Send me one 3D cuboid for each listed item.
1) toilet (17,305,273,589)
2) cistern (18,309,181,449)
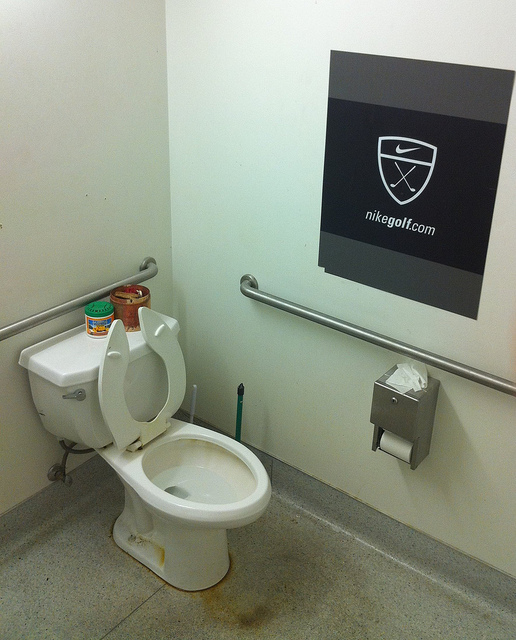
[{"bbox_3d":[-0.318,0.411,1.586,0.606,0.874,0.420,17,25,26],"label":"toilet"},{"bbox_3d":[-0.555,0.215,1.655,0.207,0.333,0.409,13,21,19],"label":"cistern"}]
